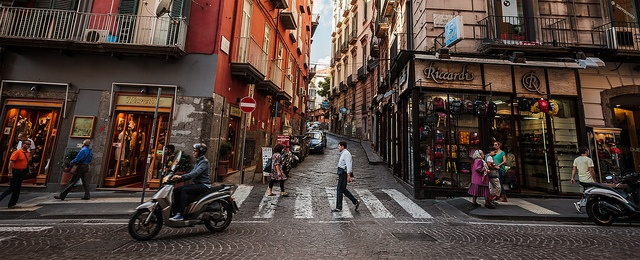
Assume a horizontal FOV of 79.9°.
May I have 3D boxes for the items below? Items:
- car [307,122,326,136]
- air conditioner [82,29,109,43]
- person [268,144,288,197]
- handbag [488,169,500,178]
[{"bbox_3d":[-0.480,-0.152,50.551,1.913,1.115,2.809,-1,-7,-2],"label":"car"},{"bbox_3d":[-16.162,-6.759,27.833,2.225,1.083,1.075,3,7,0],"label":"air conditioner"},{"bbox_3d":[-2.955,2.815,27.009,1.231,3.578,1.205,3,-3,-6],"label":"person"},{"bbox_3d":[11.760,2.976,26.133,1.005,0.534,0.478,1,6,6],"label":"handbag"}]
